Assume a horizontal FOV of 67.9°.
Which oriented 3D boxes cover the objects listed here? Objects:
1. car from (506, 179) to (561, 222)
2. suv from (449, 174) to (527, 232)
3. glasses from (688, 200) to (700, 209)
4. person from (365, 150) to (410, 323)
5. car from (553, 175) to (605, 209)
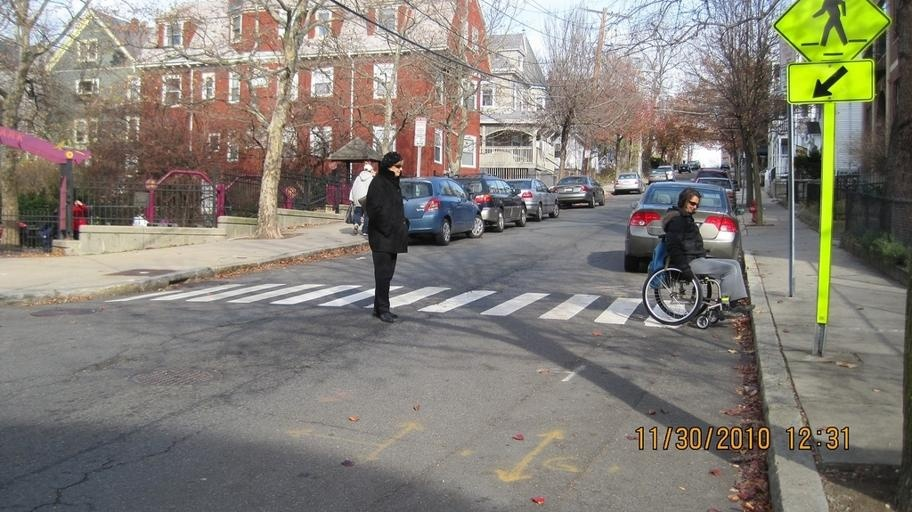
[{"bbox_3d":[3.865,-2.743,31.985,1.746,1.760,4.318,1,2,26],"label":"car"},{"bbox_3d":[1.601,-2.251,27.539,1.972,2.087,4.799,1,2,25],"label":"suv"},{"bbox_3d":[4.429,-1.007,12.821,0.168,0.175,0.059,6,8,-11],"label":"glasses"},{"bbox_3d":[-1.340,-0.434,13.248,0.788,3.204,1.144,-3,7,-7],"label":"person"},{"bbox_3d":[7.378,-3.914,40.598,2.540,1.841,3.849,0,8,16],"label":"car"}]
